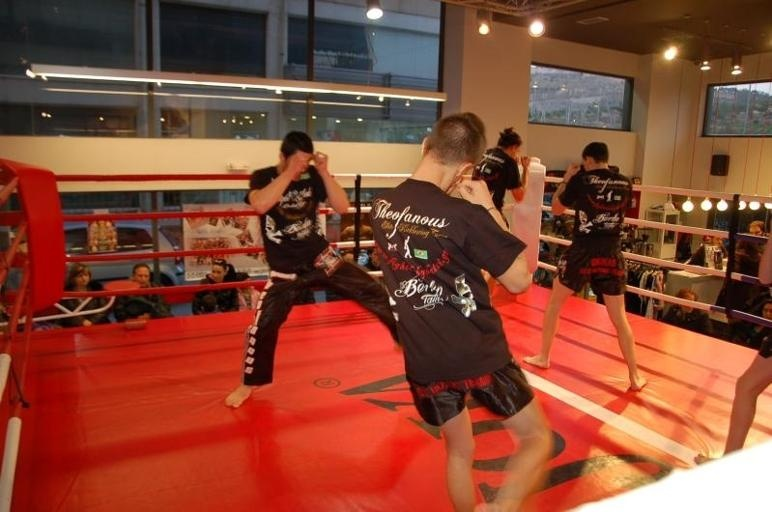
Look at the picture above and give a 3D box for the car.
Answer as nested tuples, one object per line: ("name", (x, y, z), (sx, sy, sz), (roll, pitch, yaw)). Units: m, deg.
("car", (-4.027, -0.038, 7.380), (2.302, 0.960, 1.132), (4, -2, -19))
